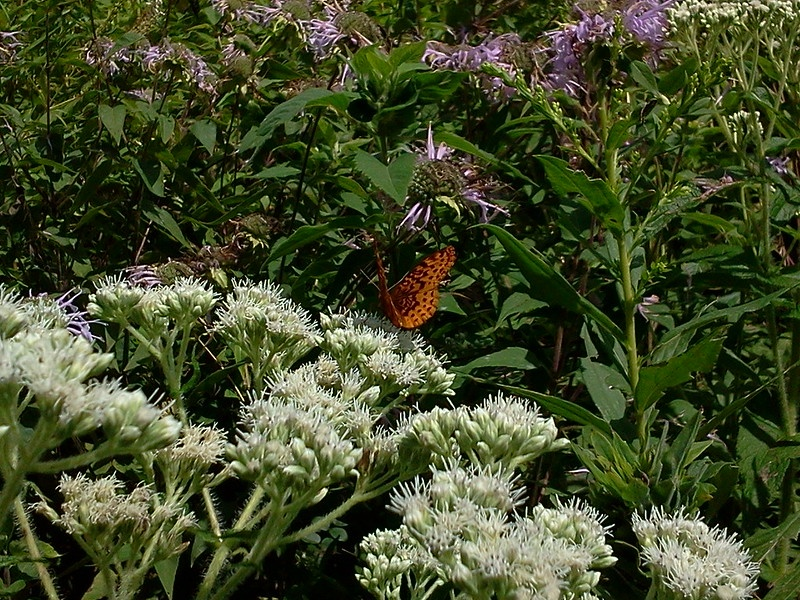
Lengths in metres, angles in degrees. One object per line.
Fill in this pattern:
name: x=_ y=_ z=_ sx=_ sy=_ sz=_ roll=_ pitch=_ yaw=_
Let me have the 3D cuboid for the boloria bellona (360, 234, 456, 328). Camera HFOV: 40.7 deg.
boloria bellona: x=0.060 y=-0.106 z=4.678 sx=0.293 sy=0.328 sz=0.425 roll=-20 pitch=12 yaw=16
